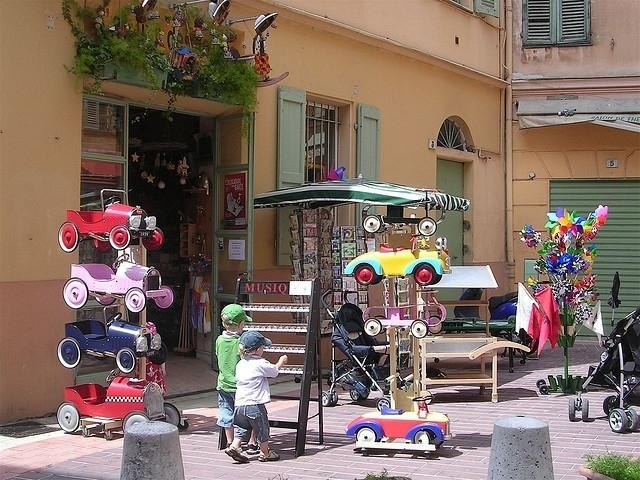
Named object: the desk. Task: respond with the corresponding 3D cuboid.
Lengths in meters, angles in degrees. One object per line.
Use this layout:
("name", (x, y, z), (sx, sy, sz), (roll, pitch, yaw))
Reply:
("desk", (2.759, 1.695, 13.155), (1.102, 0.858, 3.112), (0, -2, 25))

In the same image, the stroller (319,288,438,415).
("stroller", (0.634, 1.440, 10.748), (1.004, 1.535, 0.790), (-2, -2, 28))

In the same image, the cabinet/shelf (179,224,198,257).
("cabinet/shelf", (-2.124, 0.000, 12.978), (0.150, 0.548, 0.568), (1, -2, -36))

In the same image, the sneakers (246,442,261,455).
("sneakers", (-0.700, 2.226, 8.557), (0.079, 0.093, 0.211), (1, 1, 11))

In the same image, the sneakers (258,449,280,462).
("sneakers", (-0.528, 2.245, 8.337), (0.212, 0.097, 0.093), (1, -2, -20))

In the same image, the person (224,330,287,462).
("person", (-0.679, 1.628, 8.350), (0.557, 1.336, 0.310), (0, -1, -3))

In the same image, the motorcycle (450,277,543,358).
("motorcycle", (2.885, 1.344, 13.370), (1.893, 1.242, 0.955), (1, -2, 32))

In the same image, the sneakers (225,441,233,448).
("sneakers", (-0.949, 2.155, 8.401), (0.048, 0.060, 0.137), (0, -11, -1))
